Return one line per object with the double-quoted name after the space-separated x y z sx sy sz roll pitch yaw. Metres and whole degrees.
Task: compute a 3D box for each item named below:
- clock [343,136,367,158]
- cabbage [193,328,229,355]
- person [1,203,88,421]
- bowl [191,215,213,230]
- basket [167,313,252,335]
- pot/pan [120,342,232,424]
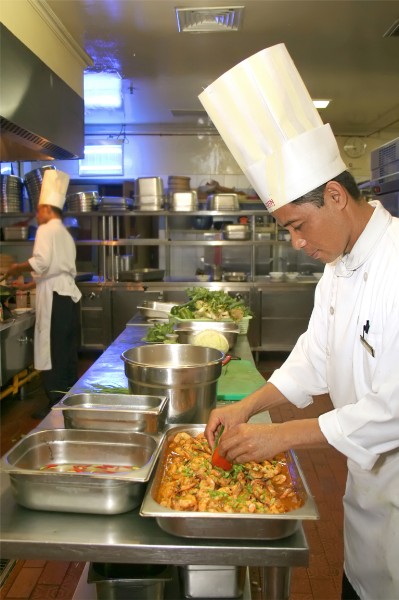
2.746 -2.732 8.099 0.292 0.292 0.049 -30 15 -4 "clock"
0.058 0.185 2.112 0.131 0.133 0.132 1 4 -29 "cabbage"
-1.288 0.032 3.984 0.476 1.782 0.758 -3 5 -22 "person"
0.039 -1.101 6.588 0.442 0.234 0.291 0 7 1 "bowl"
0.042 0.137 2.475 0.310 0.063 0.198 0 4 2 "basket"
-0.075 0.234 1.439 0.244 0.203 0.275 0 -3 11 "pot/pan"
